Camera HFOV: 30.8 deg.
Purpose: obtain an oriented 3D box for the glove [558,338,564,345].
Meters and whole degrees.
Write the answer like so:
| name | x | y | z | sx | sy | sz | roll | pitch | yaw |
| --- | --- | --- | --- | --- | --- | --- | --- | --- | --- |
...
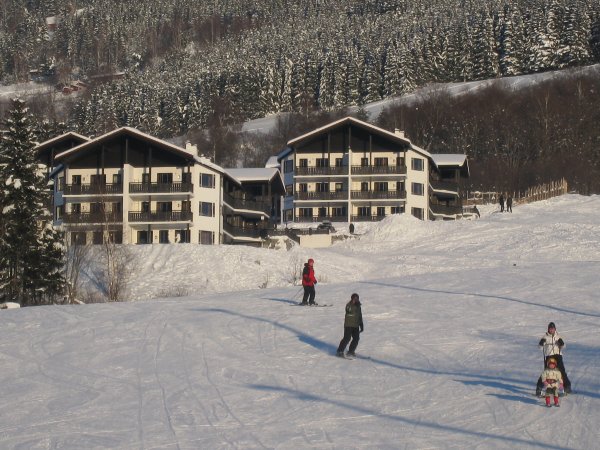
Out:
| name | x | y | z | sx | sy | sz | roll | pitch | yaw |
| --- | --- | --- | --- | --- | --- | --- | --- | --- | --- |
| glove | 20.073 | 9.043 | 83.178 | 0.344 | 0.595 | 0.811 | -2 | 0 | 27 |

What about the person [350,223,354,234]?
| name | x | y | z | sx | sy | sz | roll | pitch | yaw |
| --- | --- | --- | --- | --- | --- | --- | --- | --- | --- |
| person | 6.576 | 0.561 | 134.110 | 0.254 | 1.069 | 0.696 | 2 | -5 | -20 |

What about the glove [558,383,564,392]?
| name | x | y | z | sx | sy | sz | roll | pitch | yaw |
| --- | --- | --- | --- | --- | --- | --- | --- | --- | --- |
| glove | 19.971 | 12.534 | 82.977 | 0.355 | 0.666 | 0.242 | -1 | -3 | -3 |
